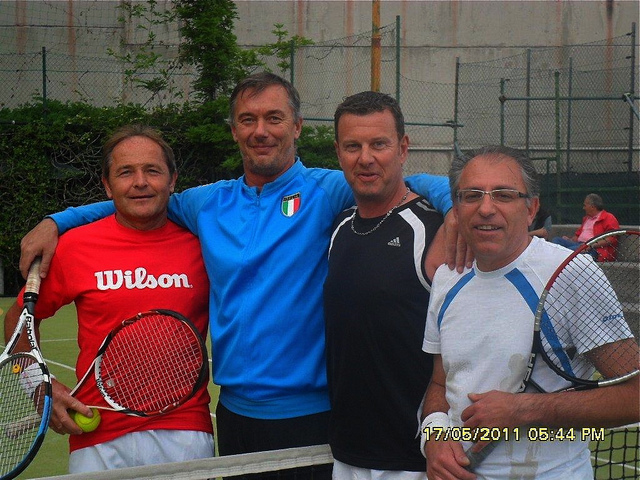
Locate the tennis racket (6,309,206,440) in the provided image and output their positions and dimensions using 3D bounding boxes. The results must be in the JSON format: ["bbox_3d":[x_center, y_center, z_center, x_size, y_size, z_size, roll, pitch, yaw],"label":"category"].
[{"bbox_3d":[-1.460,0.949,5.769,1.220,0.520,0.090,-20,-11,-10],"label":"tennis racket"}]

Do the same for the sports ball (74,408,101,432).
[{"bbox_3d":[-1.590,1.231,5.659,0.143,0.157,0.144,-4,-8,-1],"label":"sports ball"}]

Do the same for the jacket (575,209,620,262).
[{"bbox_3d":[4.274,-0.061,13.022,0.445,0.856,0.701,12,-10,-41],"label":"jacket"}]

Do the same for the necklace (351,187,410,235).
[{"bbox_3d":[0.418,-0.168,5.725,0.036,0.384,0.271,36,8,-30],"label":"necklace"}]

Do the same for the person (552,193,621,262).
[{"bbox_3d":[4.073,-0.149,12.962,1.019,1.222,1.038,0,6,42],"label":"person"}]

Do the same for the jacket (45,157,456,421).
[{"bbox_3d":[-0.368,0.325,6.080,3.086,1.812,0.787,-4,-5,22],"label":"jacket"}]
